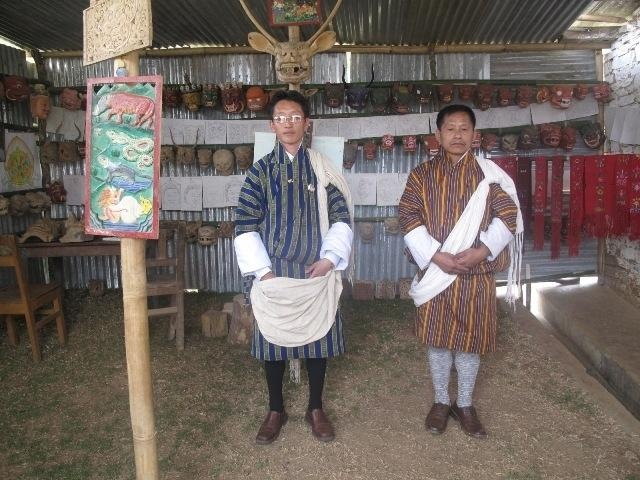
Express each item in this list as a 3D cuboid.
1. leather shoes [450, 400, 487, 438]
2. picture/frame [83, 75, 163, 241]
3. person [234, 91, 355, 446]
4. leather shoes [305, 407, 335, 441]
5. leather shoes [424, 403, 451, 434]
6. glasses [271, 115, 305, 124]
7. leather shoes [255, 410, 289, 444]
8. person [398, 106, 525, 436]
[{"bbox_3d":[1.224,1.469,4.396,0.125,0.131,0.318,1,15,-24],"label":"leather shoes"},{"bbox_3d":[-1.272,-0.538,3.463,0.557,1.021,0.167,0,10,14],"label":"picture/frame"},{"bbox_3d":[-0.197,0.216,4.280,0.913,2.785,0.510,-2,9,3],"label":"person"},{"bbox_3d":[0.005,1.506,4.385,0.134,0.136,0.302,0,-4,-22],"label":"leather shoes"},{"bbox_3d":[0.968,1.463,4.403,0.133,0.116,0.267,4,19,21],"label":"leather shoes"},{"bbox_3d":[-0.250,-0.948,4.161,0.229,0.069,0.060,-3,9,-5],"label":"glasses"},{"bbox_3d":[-0.405,1.509,4.329,0.127,0.141,0.310,3,5,15],"label":"leather shoes"},{"bbox_3d":[1.128,0.237,4.380,0.935,2.656,0.557,-1,9,9],"label":"person"}]
